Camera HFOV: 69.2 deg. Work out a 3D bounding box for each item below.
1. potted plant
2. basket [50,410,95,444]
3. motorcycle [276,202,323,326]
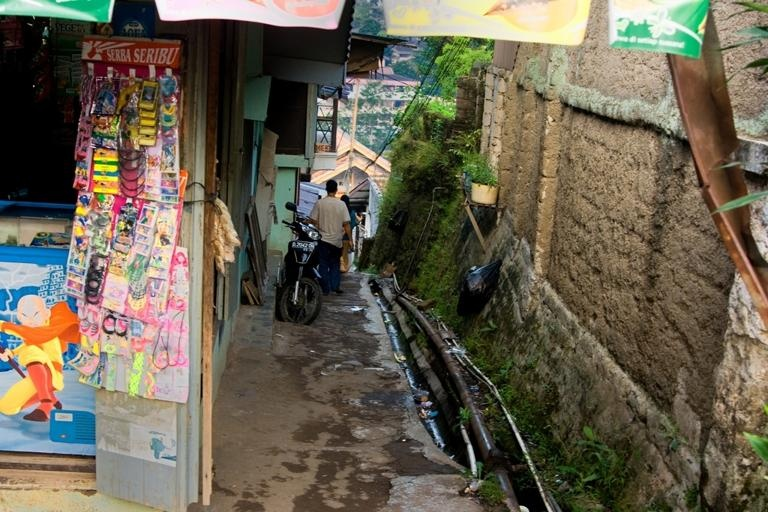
[{"bbox_3d":[1.889,-1.751,11.501,0.823,0.956,2.602,-4,14,-1],"label":"potted plant"},{"bbox_3d":[-2.371,1.302,4.291,0.378,0.250,0.082,1,2,4],"label":"basket"},{"bbox_3d":[-1.480,0.082,9.800,0.764,2.002,1.464,5,8,-11],"label":"motorcycle"}]
